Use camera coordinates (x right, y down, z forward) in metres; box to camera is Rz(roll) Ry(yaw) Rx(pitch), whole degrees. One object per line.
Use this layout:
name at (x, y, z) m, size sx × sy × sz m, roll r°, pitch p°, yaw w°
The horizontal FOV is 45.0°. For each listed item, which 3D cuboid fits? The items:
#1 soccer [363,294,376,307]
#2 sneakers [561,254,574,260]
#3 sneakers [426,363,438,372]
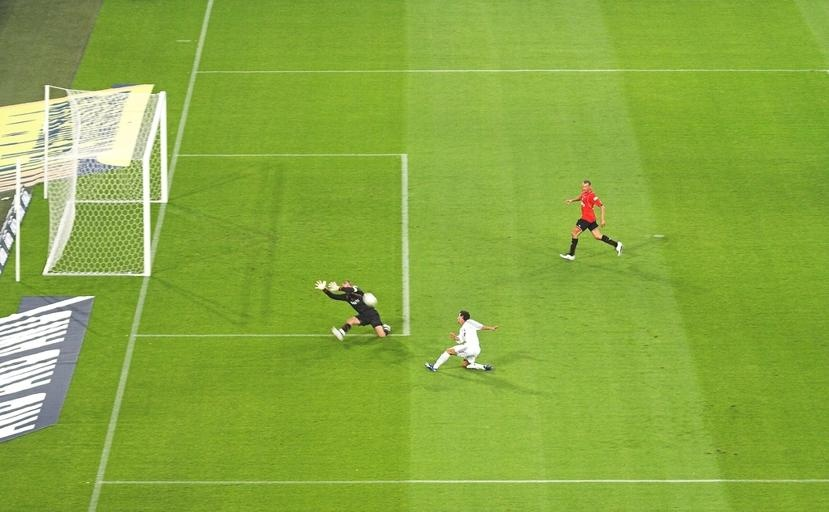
soccer at (-1.185, 1.136, 25.806) m, size 0.315 × 0.433 × 0.278 m, roll -7°, pitch 35°, yaw -3°
sneakers at (4.289, 0.023, 28.140) m, size 0.423 × 0.113 × 0.128 m, roll 10°, pitch 26°, yaw 22°
sneakers at (0.396, 2.855, 25.592) m, size 0.382 × 0.134 × 0.127 m, roll 28°, pitch 22°, yaw 10°
